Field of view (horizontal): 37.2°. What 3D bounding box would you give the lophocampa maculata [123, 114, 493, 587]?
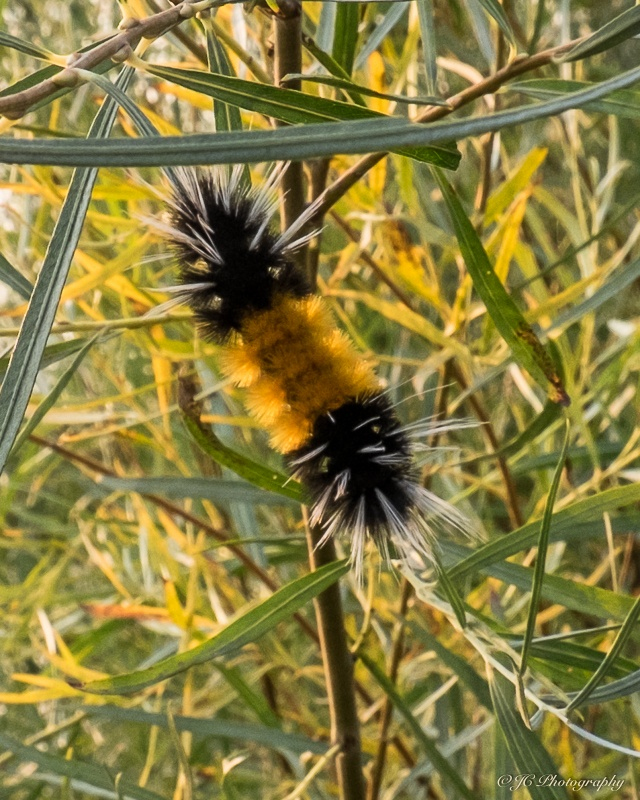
[{"bbox_3d":[-0.017,-0.026,0.877,0.173,0.446,0.175,-36,3,-37],"label":"lophocampa maculata"}]
